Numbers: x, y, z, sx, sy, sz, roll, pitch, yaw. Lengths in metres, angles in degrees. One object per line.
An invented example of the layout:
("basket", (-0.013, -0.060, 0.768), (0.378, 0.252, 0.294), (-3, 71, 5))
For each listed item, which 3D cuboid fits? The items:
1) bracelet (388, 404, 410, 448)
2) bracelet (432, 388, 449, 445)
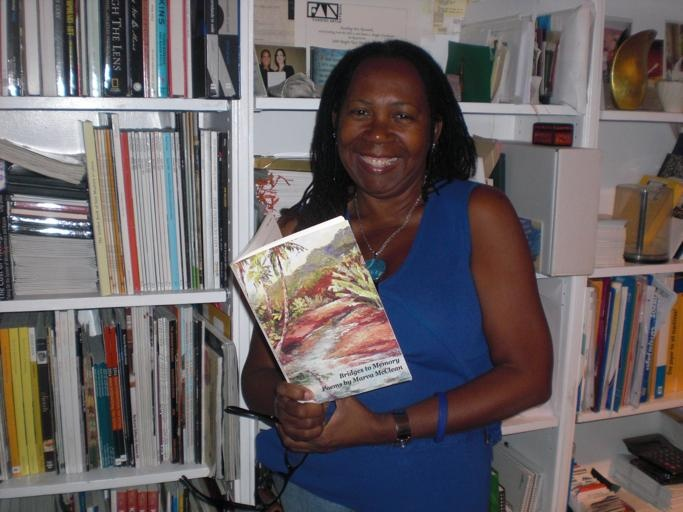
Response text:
("bracelet", (0.123, 0.414, 1.532), (0.043, 0.076, 0.076), (-5, 52, -1))
("bracelet", (0.243, 0.397, 1.546), (0.033, 0.137, 0.070), (-3, 11, 7))
